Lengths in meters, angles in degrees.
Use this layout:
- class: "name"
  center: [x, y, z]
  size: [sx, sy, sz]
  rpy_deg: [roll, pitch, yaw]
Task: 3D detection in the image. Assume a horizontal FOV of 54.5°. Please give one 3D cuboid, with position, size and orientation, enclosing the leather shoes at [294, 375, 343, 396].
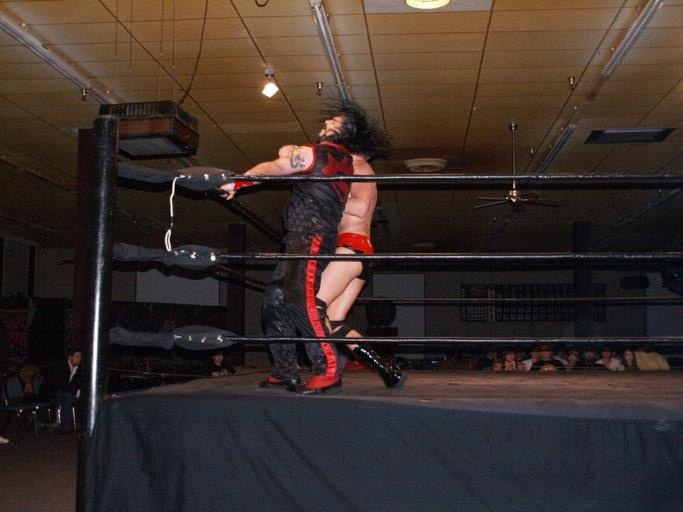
- class: "leather shoes"
  center: [-0.109, 0.664, 3.432]
  size: [0.240, 0.091, 0.158]
  rpy_deg: [3, -8, -11]

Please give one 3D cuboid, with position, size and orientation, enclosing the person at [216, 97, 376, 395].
- class: "person"
  center: [-0.177, -0.136, 3.680]
  size: [0.818, 1.729, 0.831]
  rpy_deg: [2, -11, 2]
